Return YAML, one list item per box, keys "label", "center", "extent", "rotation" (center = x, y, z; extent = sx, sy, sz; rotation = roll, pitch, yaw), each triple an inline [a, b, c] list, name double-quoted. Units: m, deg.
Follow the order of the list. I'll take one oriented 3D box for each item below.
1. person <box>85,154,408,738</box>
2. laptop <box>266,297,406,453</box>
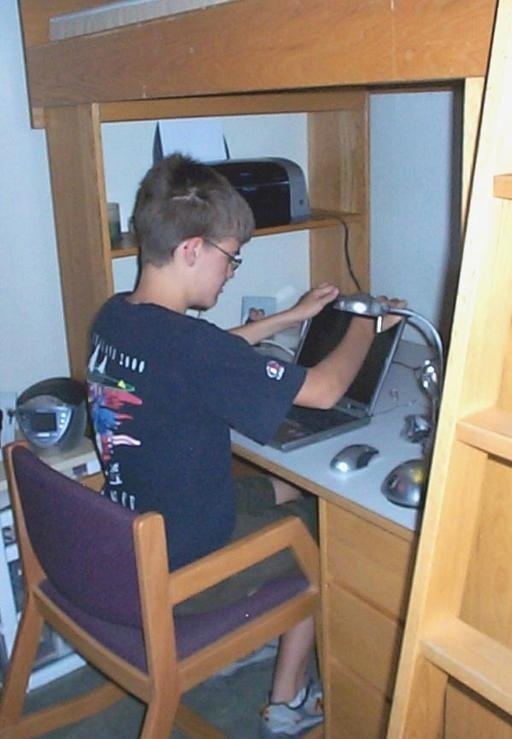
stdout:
- label: "person"
  center: [-0.070, 0.304, 1.471]
  extent: [0.625, 1.471, 0.603]
  rotation: [8, 15, 31]
- label: "laptop"
  center: [0.174, 0.019, 1.519]
  extent: [0.296, 0.320, 0.429]
  rotation: [-8, 20, -28]
